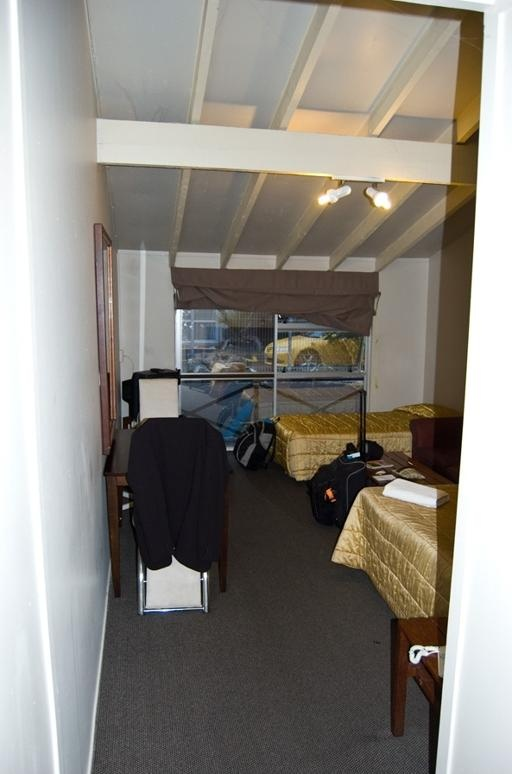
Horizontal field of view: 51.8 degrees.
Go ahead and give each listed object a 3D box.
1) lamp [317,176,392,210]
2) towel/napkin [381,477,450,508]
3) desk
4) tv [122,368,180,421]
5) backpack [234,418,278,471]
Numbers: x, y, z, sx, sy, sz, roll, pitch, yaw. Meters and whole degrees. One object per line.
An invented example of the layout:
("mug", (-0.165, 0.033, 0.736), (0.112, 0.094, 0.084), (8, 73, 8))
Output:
("lamp", (0.610, -1.168, 3.323), (0.503, 0.167, 0.343), (10, 46, 2))
("towel/napkin", (0.746, 0.497, 2.506), (0.227, 0.066, 0.283), (4, 8, -9))
("desk", (-0.474, 0.528, 2.812), (0.564, 0.763, 0.983), (-1, 15, -12))
("tv", (-0.723, 0.102, 3.647), (0.335, 0.375, 1.025), (0, 6, -12))
("backpack", (0.004, 0.514, 4.793), (0.386, 0.496, 0.344), (-2, -8, 2))
